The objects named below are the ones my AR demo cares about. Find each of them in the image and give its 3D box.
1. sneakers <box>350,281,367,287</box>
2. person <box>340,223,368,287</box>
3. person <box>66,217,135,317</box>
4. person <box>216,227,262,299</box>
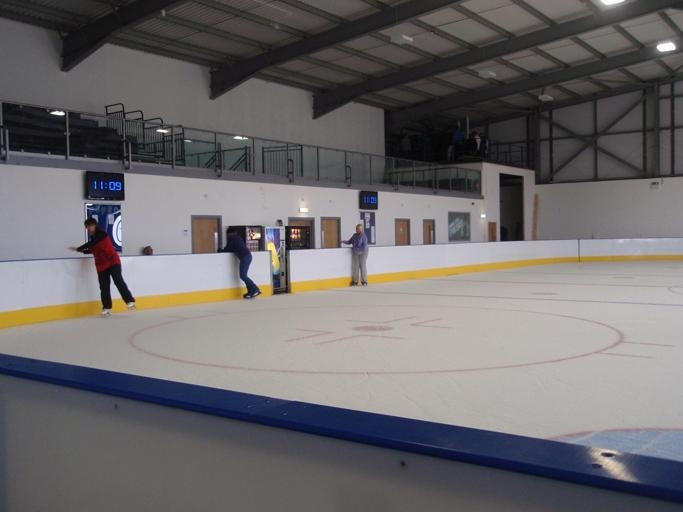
[{"bbox_3d":[0.514,0.841,15.302,0.506,0.267,0.185,5,-8,-21],"label":"sneakers"},{"bbox_3d":[0.514,-0.020,15.258,0.602,1.787,1.089,3,-8,3],"label":"person"},{"bbox_3d":[-4.556,0.212,10.011,1.080,1.795,0.500,10,-10,-35],"label":"person"},{"bbox_3d":[-2.413,0.189,12.633,0.985,1.623,0.645,7,-8,-19],"label":"person"}]
